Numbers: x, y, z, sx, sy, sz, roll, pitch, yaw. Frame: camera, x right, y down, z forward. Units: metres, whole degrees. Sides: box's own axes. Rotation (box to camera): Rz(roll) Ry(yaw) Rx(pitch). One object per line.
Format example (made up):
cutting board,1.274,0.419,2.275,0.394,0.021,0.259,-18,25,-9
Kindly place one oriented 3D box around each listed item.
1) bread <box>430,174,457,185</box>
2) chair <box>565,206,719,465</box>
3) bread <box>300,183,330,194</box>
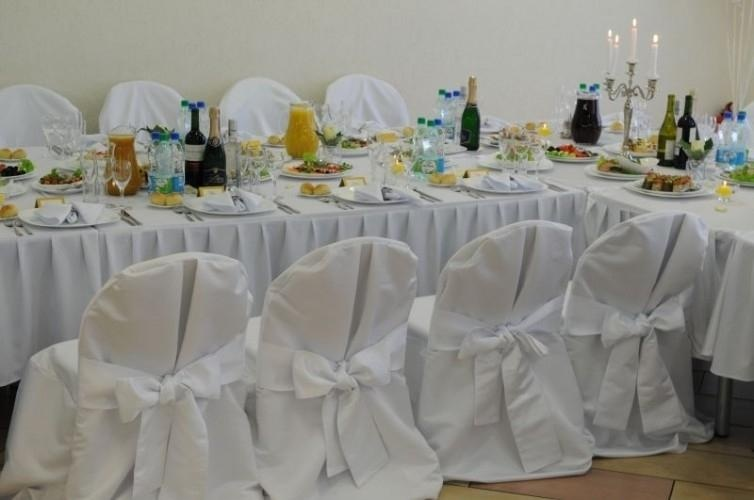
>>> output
bread,0.339,-0.358,3.204,0.063,0.041,0.089,-1,8,-22
chair,1.098,0.382,2.629,0.554,0.985,0.648,-8,25,-6
bread,-0.292,-0.286,3.007,0.086,0.044,0.071,-2,1,-2
